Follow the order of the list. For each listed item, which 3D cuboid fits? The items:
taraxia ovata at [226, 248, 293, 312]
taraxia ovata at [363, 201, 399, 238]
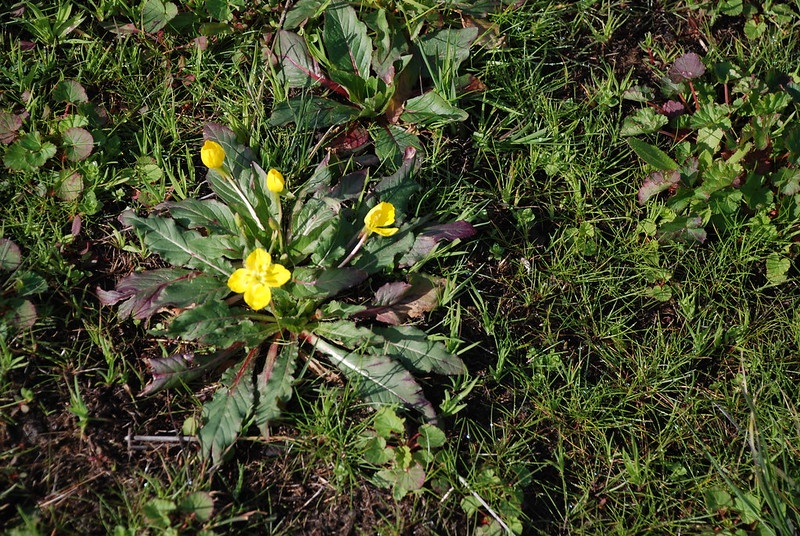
[{"bbox_3d":[-0.642,0.049,2.491,0.211,0.115,0.228,39,75,6],"label":"taraxia ovata"},{"bbox_3d":[-0.098,-0.226,2.747,0.145,0.248,0.159,0,75,-4],"label":"taraxia ovata"}]
